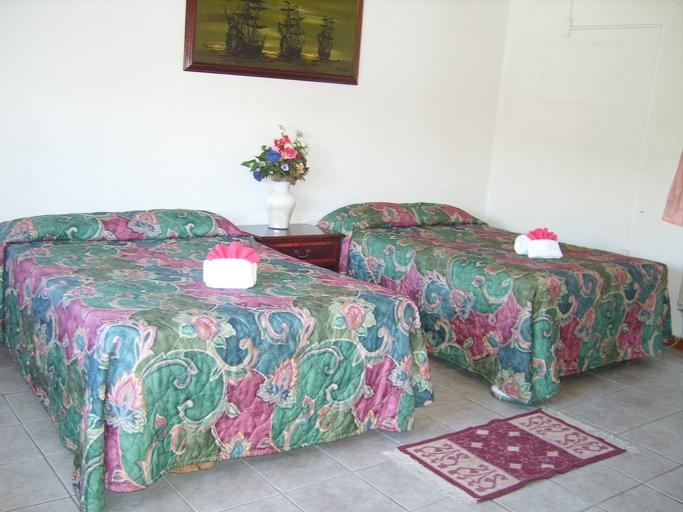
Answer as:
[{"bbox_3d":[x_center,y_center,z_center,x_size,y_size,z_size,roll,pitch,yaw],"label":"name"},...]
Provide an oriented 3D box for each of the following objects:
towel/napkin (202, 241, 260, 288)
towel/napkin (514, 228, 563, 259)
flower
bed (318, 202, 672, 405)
[{"bbox_3d":[-0.563,0.043,2.913,0.349,0.213,0.268,0,11,-25],"label":"towel/napkin"},{"bbox_3d":[1.400,-0.086,3.879,0.309,0.098,0.254,0,19,2],"label":"towel/napkin"},{"bbox_3d":[-0.492,-0.807,4.356,0.598,0.446,0.378,-6,19,-26],"label":"flower"},{"bbox_3d":[1.110,0.125,4.293,1.704,0.733,2.203,-12,23,-34],"label":"bed"}]
